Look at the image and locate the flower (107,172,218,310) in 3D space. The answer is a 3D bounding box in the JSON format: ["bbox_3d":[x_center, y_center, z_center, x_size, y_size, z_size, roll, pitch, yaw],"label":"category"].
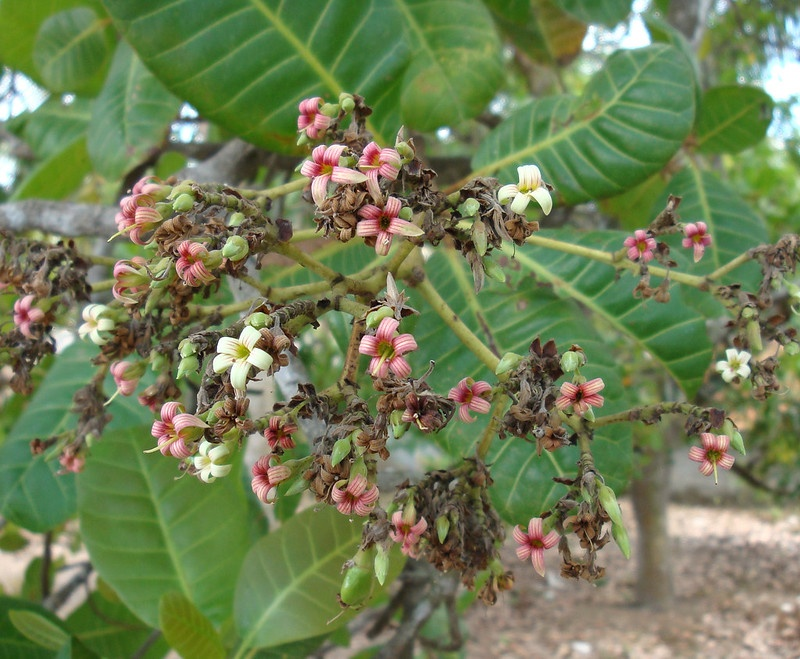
[{"bbox_3d":[-0.536,-0.195,1.935,0.316,0.276,0.140,-12,65,-31],"label":"flower"}]

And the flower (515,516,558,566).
[{"bbox_3d":[0.315,0.473,1.942,0.109,0.042,0.105,-9,89,27],"label":"flower"}]

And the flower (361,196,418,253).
[{"bbox_3d":[-0.030,-0.237,1.827,0.125,0.118,0.042,-1,59,36],"label":"flower"}]

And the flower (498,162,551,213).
[{"bbox_3d":[0.277,-0.298,1.863,0.114,0.044,0.110,2,85,13],"label":"flower"}]

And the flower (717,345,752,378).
[{"bbox_3d":[0.803,0.078,2.036,0.075,0.030,0.072,-29,58,15],"label":"flower"}]

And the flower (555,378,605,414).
[{"bbox_3d":[0.392,0.145,1.857,0.086,0.037,0.086,-14,88,-7],"label":"flower"}]

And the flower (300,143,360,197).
[{"bbox_3d":[-0.154,-0.359,1.877,0.132,0.028,0.118,-30,31,-24],"label":"flower"}]

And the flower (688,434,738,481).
[{"bbox_3d":[0.708,0.299,1.916,0.105,0.039,0.085,-22,13,-15],"label":"flower"}]

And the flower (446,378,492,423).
[{"bbox_3d":[0.159,0.149,1.915,0.125,0.045,0.120,-24,15,-20],"label":"flower"}]
